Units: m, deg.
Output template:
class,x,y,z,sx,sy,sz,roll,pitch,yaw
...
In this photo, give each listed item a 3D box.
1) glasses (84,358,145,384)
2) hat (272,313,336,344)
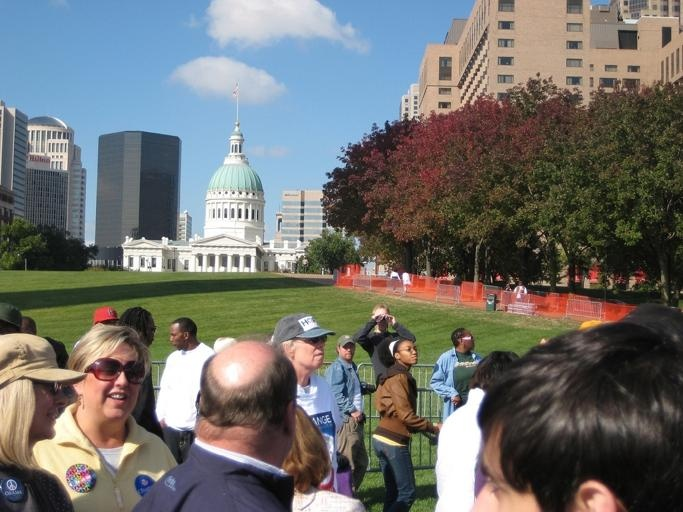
class,x,y,z,sx,sy,sz,roll,pitch,yaw
glasses,-2.075,1.060,9.217,0.538,0.250,0.132,1,-3,-15
hat,-0.421,0.767,10.376,0.489,0.249,0.337,-5,-4,13
